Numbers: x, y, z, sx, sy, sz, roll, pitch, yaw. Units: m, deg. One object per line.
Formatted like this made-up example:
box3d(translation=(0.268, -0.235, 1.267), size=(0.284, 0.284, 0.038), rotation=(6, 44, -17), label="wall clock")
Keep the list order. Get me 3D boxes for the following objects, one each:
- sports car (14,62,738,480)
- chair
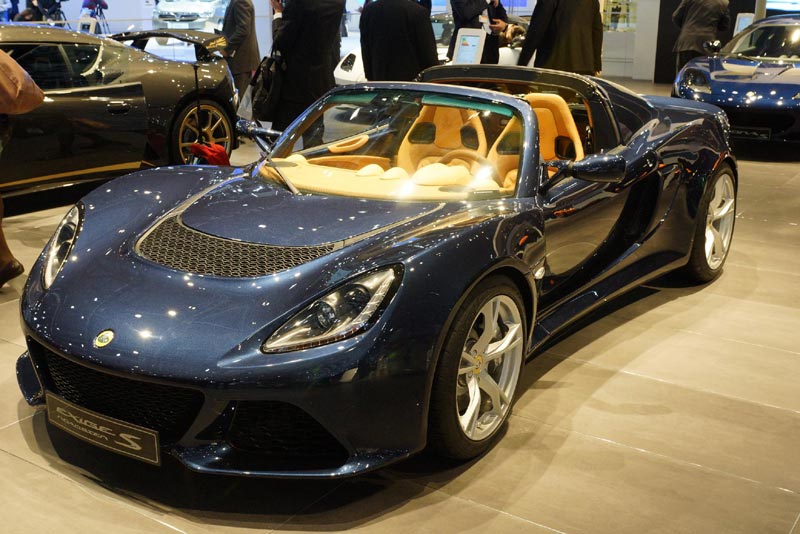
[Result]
box3d(translation=(0.178, -0.438, 3.635), size=(2.393, 1.180, 4.422), rotation=(15, 29, 35), label="sports car")
box3d(translation=(0.521, -0.767, 3.351), size=(0.800, 0.362, 0.986), rotation=(10, 7, 36), label="chair")
